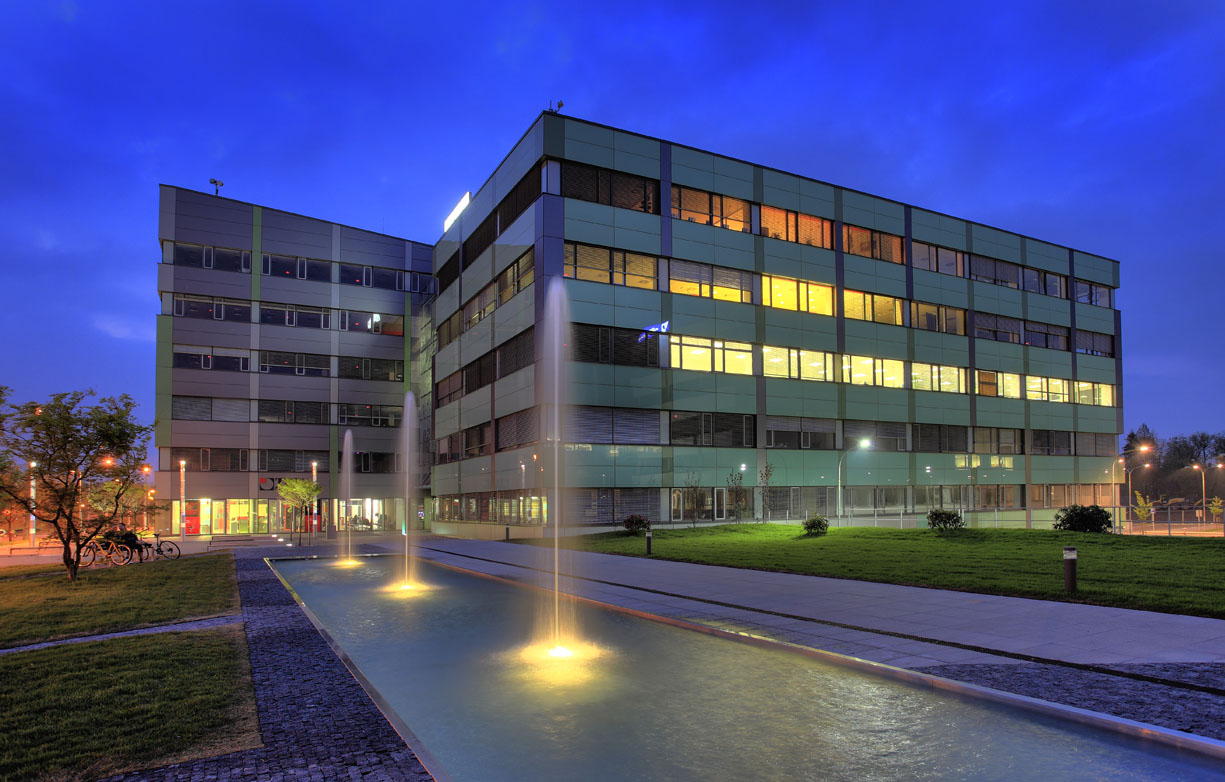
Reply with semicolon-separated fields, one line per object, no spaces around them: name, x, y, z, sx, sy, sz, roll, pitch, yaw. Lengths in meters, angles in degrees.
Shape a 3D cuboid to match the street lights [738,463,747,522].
street lights;8.025;6.061;55.882;0.384;3.268;0.843;-8;-12;32
